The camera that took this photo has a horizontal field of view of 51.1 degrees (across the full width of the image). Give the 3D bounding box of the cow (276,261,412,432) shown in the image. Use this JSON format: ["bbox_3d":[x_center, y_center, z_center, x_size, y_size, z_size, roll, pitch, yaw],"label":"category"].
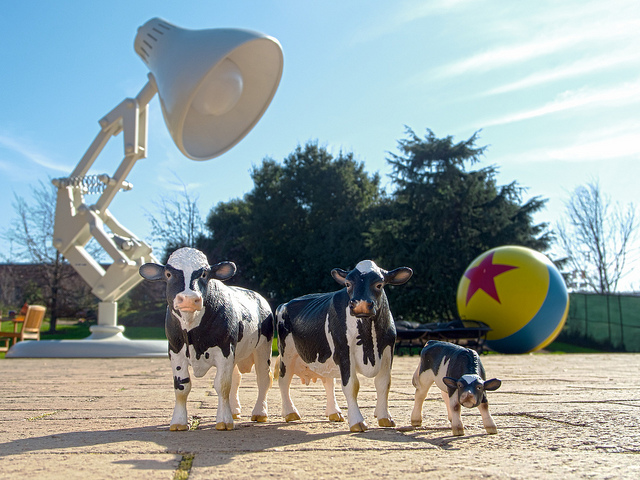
[{"bbox_3d":[0.215,1.346,8.209,0.759,2.040,2.388,-4,-3,-31],"label":"cow"}]

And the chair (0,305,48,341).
[{"bbox_3d":[-7.577,2.115,17.316,0.722,0.890,1.462,2,-9,-2],"label":"chair"}]

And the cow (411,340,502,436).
[{"bbox_3d":[1.536,1.681,7.680,0.521,1.028,1.045,9,-11,-43],"label":"cow"}]

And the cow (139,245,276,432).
[{"bbox_3d":[-1.182,1.191,7.939,1.424,2.064,0.655,9,-11,-42],"label":"cow"}]
